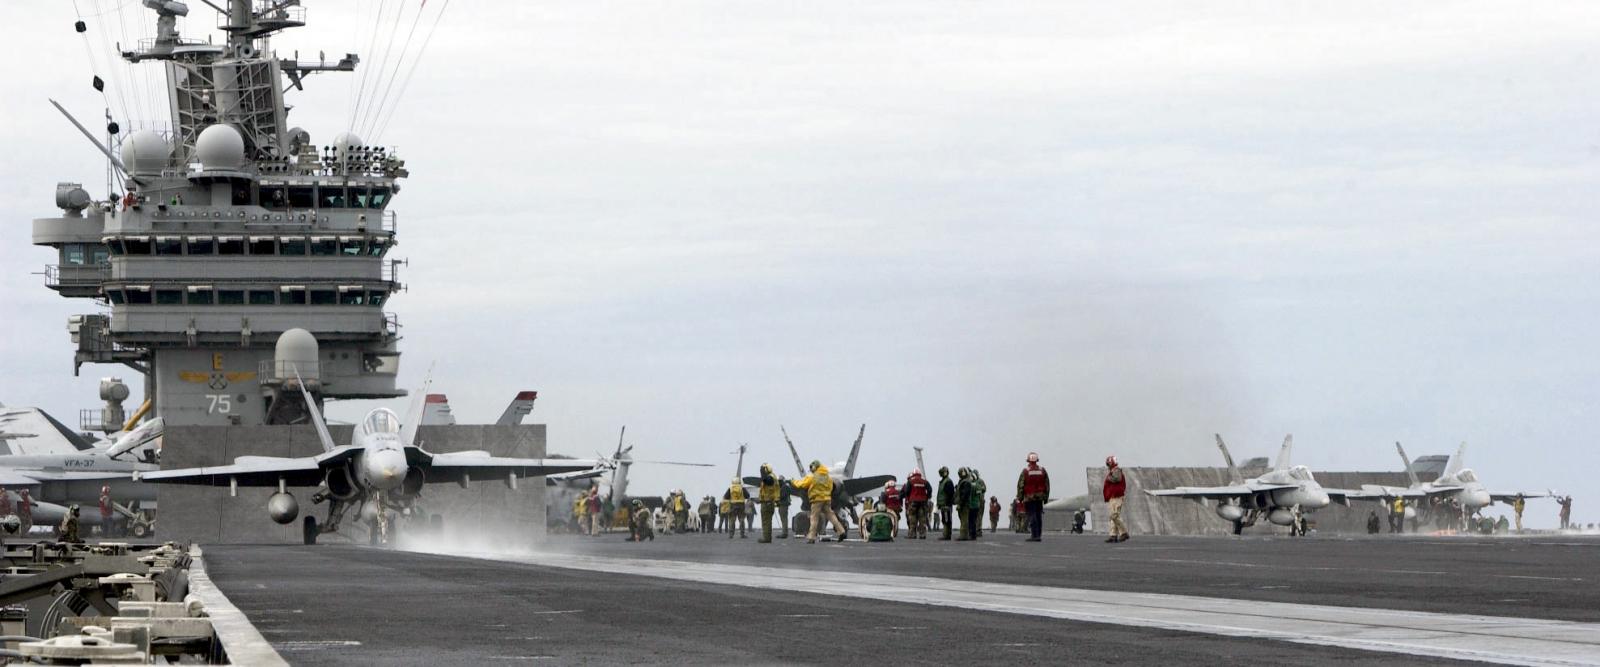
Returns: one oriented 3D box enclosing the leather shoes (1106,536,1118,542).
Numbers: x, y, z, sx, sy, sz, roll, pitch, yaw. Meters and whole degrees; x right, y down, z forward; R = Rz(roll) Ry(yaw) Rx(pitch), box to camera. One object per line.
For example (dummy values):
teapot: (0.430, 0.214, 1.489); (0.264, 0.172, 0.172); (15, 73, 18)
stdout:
leather shoes: (19.191, 12.797, 156.742); (0.254, 0.230, 0.714); (1, 6, -43)

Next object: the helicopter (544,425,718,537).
helicopter: (-13.420, 12.284, 190.090); (20.007, 5.746, 19.774); (2, 8, -1)

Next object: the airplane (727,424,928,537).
airplane: (0.580, 8.761, 174.304); (17.066, 5.291, 16.035); (-2, 5, 2)
